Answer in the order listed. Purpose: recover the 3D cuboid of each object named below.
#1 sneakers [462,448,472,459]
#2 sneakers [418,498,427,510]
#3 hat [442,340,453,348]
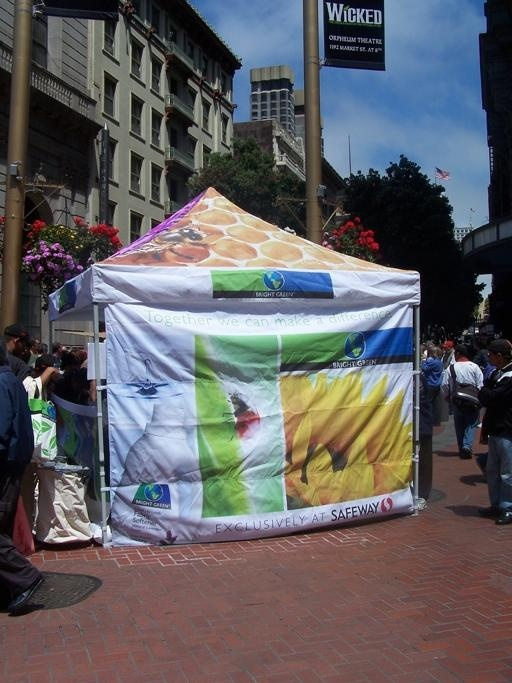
[{"bbox_3d":[3.255,1.713,10.955,0.145,0.150,0.162,2,2,16],"label":"sneakers"},{"bbox_3d":[1.750,1.693,7.477,0.062,0.122,0.320,-1,-2,18],"label":"sneakers"},{"bbox_3d":[4.968,0.044,18.433,0.363,0.189,0.256,4,4,-9],"label":"hat"}]
